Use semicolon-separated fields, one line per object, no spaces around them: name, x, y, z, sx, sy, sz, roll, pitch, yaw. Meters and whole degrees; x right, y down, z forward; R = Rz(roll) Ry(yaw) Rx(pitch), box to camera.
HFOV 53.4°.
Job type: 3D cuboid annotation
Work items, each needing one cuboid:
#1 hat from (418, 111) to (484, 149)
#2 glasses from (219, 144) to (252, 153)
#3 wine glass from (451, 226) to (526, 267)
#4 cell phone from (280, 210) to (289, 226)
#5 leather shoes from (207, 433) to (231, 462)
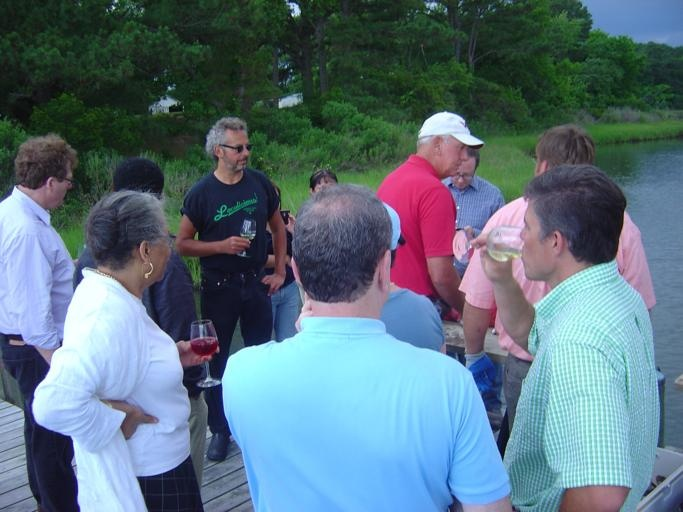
hat;0.710;-0.821;4.493;0.482;0.279;0.330;1;-4;10
glasses;-0.793;-0.802;5.043;0.108;0.037;0.109;1;5;37
wine glass;0.705;-0.052;2.994;0.162;0.185;0.105;1;25;-25
cell phone;-0.503;-0.341;5.980;0.108;0.127;0.090;-1;2;-7
leather shoes;-0.859;1.323;4.678;0.092;0.095;0.211;7;21;2
